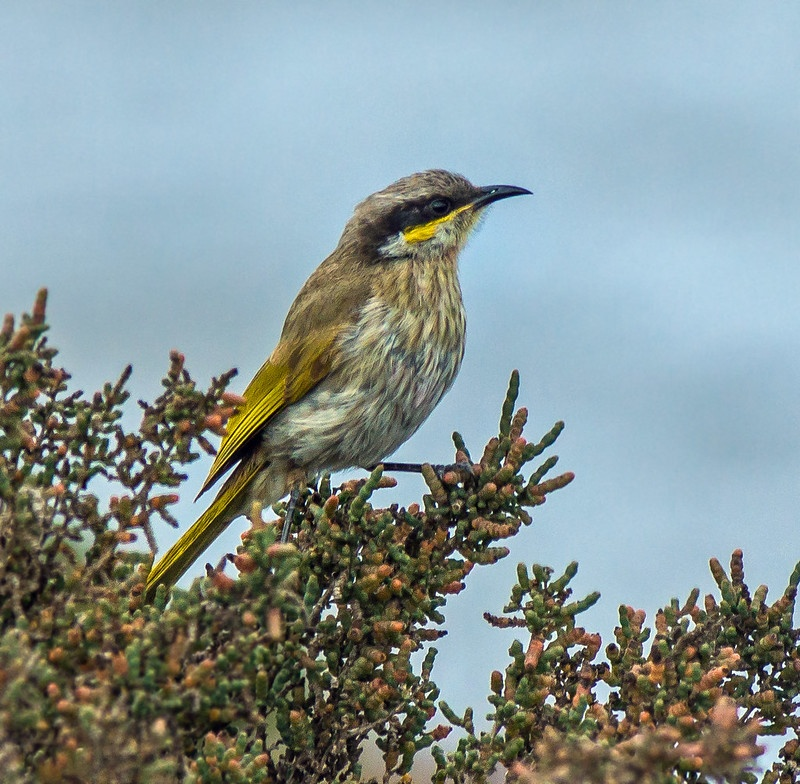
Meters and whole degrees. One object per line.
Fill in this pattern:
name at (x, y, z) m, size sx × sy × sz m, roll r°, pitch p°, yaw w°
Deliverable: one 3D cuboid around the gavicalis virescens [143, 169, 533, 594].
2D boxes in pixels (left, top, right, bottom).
gavicalis virescens at (-0.213, 0.166, 6.283) m, size 1.540 × 1.136 × 0.515 m, roll -33°, pitch -34°, yaw 21°
